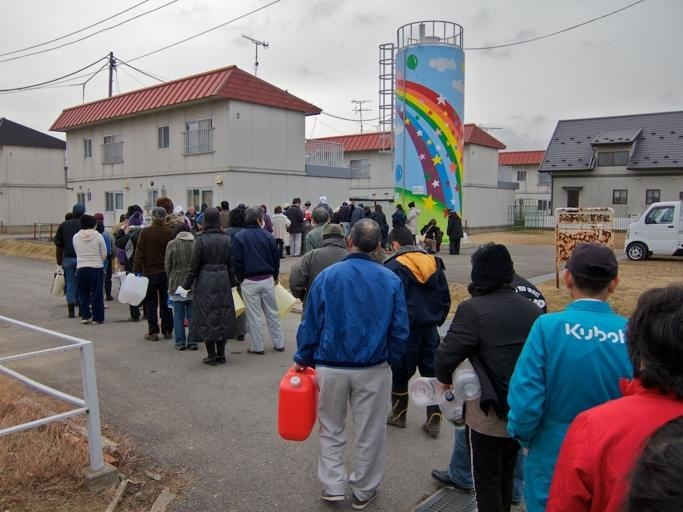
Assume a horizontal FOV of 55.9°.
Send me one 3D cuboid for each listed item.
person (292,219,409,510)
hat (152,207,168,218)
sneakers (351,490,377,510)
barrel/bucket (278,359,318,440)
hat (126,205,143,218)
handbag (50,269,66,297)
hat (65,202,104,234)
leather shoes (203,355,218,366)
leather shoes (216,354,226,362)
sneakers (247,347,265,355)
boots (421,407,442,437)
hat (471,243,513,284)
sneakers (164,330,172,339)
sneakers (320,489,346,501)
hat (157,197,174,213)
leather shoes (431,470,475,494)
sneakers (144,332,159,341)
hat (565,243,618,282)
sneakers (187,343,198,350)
[{"bbox_3d":[0.099,0.915,5.403,0.867,2.245,0.591,-5,9,-34],"label":"person"},{"bbox_3d":[-2.886,-0.701,10.196,0.140,0.179,0.211,1,18,-11],"label":"hat"},{"bbox_3d":[0.187,2.034,5.355,0.083,0.127,0.263,0,1,30],"label":"sneakers"},{"bbox_3d":[-0.387,1.186,5.554,0.261,0.591,0.565,4,17,-1],"label":"barrel/bucket"},{"bbox_3d":[-3.945,-0.856,12.212,0.225,0.333,0.322,2,12,0],"label":"hat"},{"bbox_3d":[-5.456,0.525,12.398,0.282,0.774,0.522,3,-3,-17],"label":"handbag"},{"bbox_3d":[-4.636,-0.834,11.866,0.641,0.488,0.972,0,-10,-11],"label":"hat"},{"bbox_3d":[-1.760,1.392,8.635,0.185,0.107,0.199,-1,9,-13],"label":"leather shoes"},{"bbox_3d":[-1.641,1.386,8.772,0.109,0.131,0.073,-1,3,-16],"label":"leather shoes"},{"bbox_3d":[-1.229,1.355,9.224,0.243,0.124,0.092,9,8,36],"label":"sneakers"},{"bbox_3d":[0.942,1.717,6.647,0.107,0.281,0.355,1,0,1],"label":"boots"},{"bbox_3d":[1.187,0.067,4.981,0.283,0.333,0.301,0,5,10],"label":"hat"},{"bbox_3d":[-2.734,1.233,10.132,0.141,0.165,0.069,3,0,35],"label":"sneakers"},{"bbox_3d":[-0.067,1.980,5.331,0.196,0.115,0.112,0,8,-4],"label":"sneakers"},{"bbox_3d":[-3.006,-0.872,10.891,0.209,0.359,0.323,0,16,-8],"label":"hat"},{"bbox_3d":[0.967,1.956,5.579,0.347,0.194,0.133,7,12,25],"label":"leather shoes"},{"bbox_3d":[-2.931,1.241,9.928,0.198,0.107,0.092,8,5,23],"label":"sneakers"},{"bbox_3d":[1.699,0.034,4.387,0.329,0.267,0.483,5,1,13],"label":"hat"},{"bbox_3d":[-2.184,1.322,9.458,0.137,0.166,0.078,3,3,-18],"label":"sneakers"}]
